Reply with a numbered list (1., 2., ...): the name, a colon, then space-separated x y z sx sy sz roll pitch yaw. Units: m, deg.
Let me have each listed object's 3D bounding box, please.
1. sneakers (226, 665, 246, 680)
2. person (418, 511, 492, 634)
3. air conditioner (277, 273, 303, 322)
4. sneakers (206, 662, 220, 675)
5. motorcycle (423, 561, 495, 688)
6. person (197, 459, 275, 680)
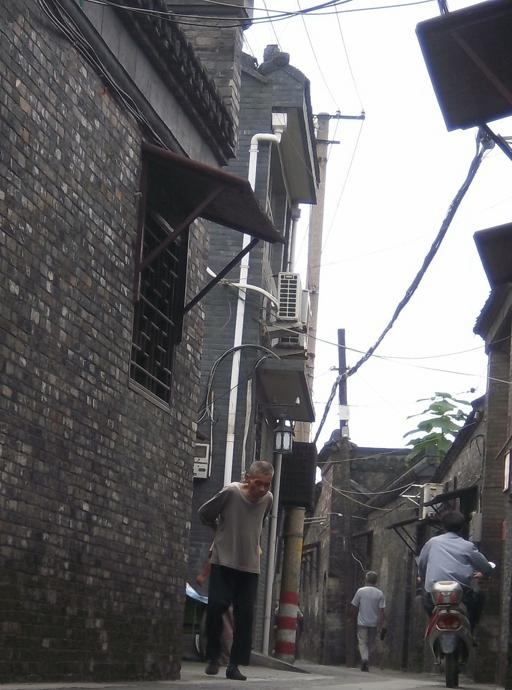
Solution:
1. sneakers: -0.172 2.544 7.343 0.066 0.098 0.209 3 -17 -15
2. person: 1.757 1.941 8.581 0.494 0.780 1.027 0 -10 8
3. air conditioner: 0.558 -1.065 15.759 0.348 0.663 0.924 6 -49 5
4. sneakers: -0.345 2.525 7.397 0.050 0.090 0.176 1 -7 1
5. motorcycle: 1.611 2.460 8.082 0.346 0.882 0.457 10 -16 -24
6. person: -0.132 1.777 7.316 0.524 1.665 0.527 -18 -43 25
